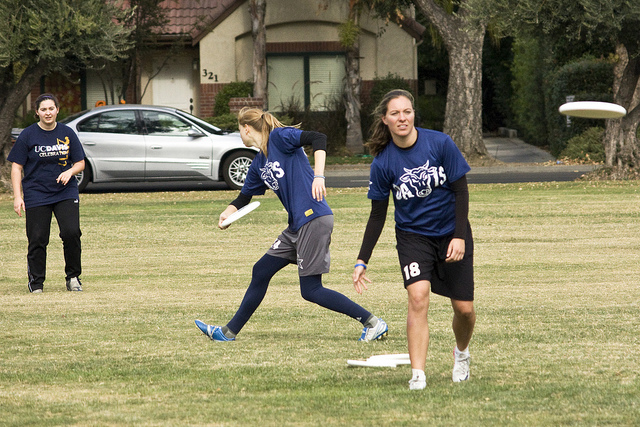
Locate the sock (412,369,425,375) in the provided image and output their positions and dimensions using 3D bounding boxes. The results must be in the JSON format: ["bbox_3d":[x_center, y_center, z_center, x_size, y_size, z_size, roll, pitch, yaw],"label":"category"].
[{"bbox_3d":[1.103,1.770,12.266,0.123,0.073,0.058,2,14,11],"label":"sock"}]

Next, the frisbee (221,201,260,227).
[{"bbox_3d":[-0.999,-0.020,13.780,0.350,0.256,0.591,1,13,10],"label":"frisbee"}]

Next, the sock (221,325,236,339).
[{"bbox_3d":[-1.134,1.474,13.607,0.227,0.098,0.076,34,12,14],"label":"sock"}]

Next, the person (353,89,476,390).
[{"bbox_3d":[1.114,0.253,12.453,1.386,3.246,1.091,5,16,24],"label":"person"}]

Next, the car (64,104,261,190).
[{"bbox_3d":[-3.612,-1.529,24.788,4.768,1.357,2.019,-1,3,-5],"label":"car"}]
